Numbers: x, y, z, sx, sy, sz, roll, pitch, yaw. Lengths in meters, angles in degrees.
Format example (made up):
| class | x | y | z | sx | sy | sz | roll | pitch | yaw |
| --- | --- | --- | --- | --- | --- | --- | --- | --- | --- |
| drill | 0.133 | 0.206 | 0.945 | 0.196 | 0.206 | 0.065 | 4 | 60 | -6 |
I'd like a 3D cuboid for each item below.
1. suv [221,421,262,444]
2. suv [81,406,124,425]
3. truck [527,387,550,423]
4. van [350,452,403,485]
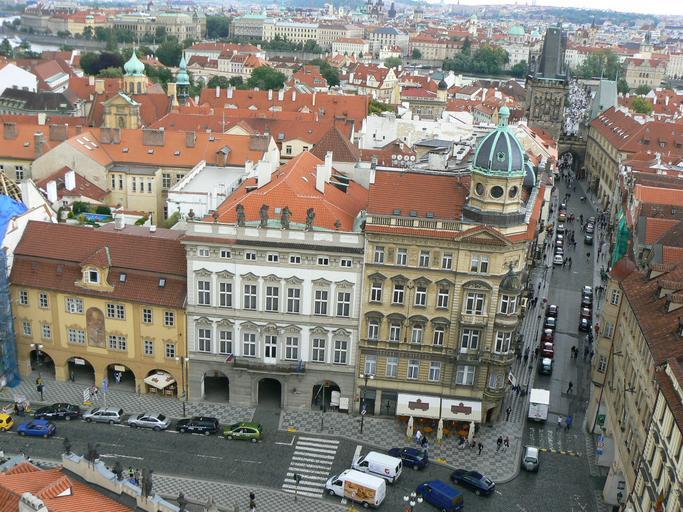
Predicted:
| class | x | y | z | sx | sy | sz | roll | pitch | yaw |
| --- | --- | --- | --- | --- | --- | --- | --- | --- | --- |
| suv | -11.490 | 20.730 | 120.215 | 3.548 | 1.540 | 2.160 | 6 | 5 | 1 |
| suv | -28.133 | 19.045 | 121.632 | 3.845 | 1.329 | 1.979 | 7 | 11 | -1 |
| truck | 24.298 | 18.566 | 126.634 | 2.201 | 2.261 | 4.086 | 6 | 39 | 14 |
| van | 4.007 | 23.727 | 115.212 | 4.931 | 2.255 | 2.931 | 14 | 30 | 19 |
